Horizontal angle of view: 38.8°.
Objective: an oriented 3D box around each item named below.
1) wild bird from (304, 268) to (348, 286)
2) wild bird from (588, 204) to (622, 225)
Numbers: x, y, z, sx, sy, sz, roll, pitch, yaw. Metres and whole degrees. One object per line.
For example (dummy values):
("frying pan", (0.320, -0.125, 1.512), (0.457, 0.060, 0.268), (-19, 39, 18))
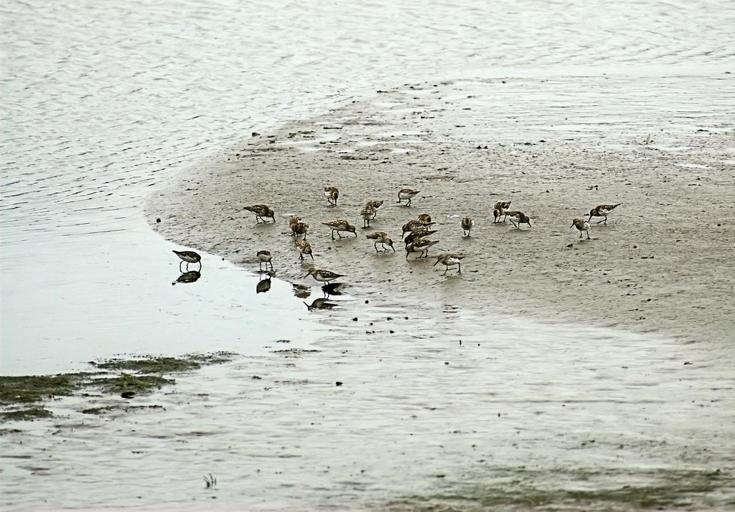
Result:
("wild bird", (-1.300, 0.565, 30.428), (0.942, 0.932, 0.591), (31, 83, 12))
("wild bird", (7.347, -1.376, 32.880), (0.694, 1.232, 0.958), (23, 81, 11))
